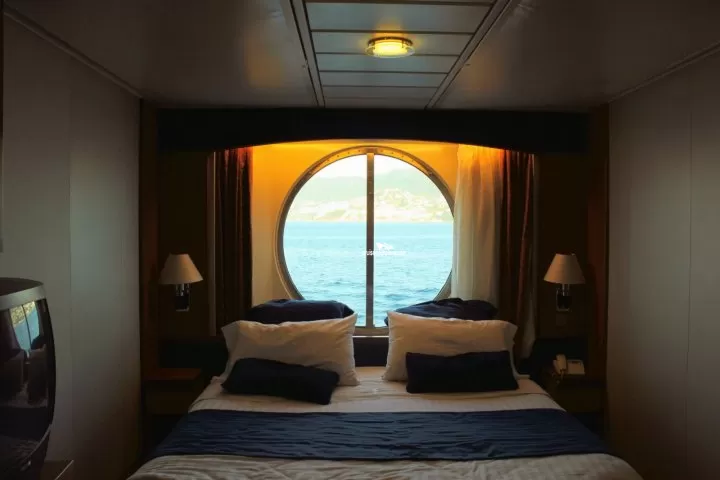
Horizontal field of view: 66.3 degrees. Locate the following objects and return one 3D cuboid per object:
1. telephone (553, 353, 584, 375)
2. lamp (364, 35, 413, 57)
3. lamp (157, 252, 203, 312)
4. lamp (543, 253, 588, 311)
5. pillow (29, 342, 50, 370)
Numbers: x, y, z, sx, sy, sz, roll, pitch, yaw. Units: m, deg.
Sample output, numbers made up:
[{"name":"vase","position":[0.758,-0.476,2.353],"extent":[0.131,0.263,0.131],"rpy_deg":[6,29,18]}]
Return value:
[{"name":"telephone","position":[1.783,1.065,4.704],"extent":[0.170,0.043,0.177],"rpy_deg":[0,17,12]},{"name":"lamp","position":[0.198,-1.298,3.695],"extent":[0.322,0.066,0.276],"rpy_deg":[-1,3,3]},{"name":"lamp","position":[-1.542,0.380,4.764],"extent":[0.356,0.526,0.339],"rpy_deg":[-2,3,-12]},{"name":"lamp","position":[1.787,0.384,4.804],"extent":[0.341,0.531,0.325],"rpy_deg":[0,3,16]},{"name":"pillow","position":[-1.681,0.622,2.892],"extent":[0.093,0.125,0.085],"rpy_deg":[-2,-1,40]}]
